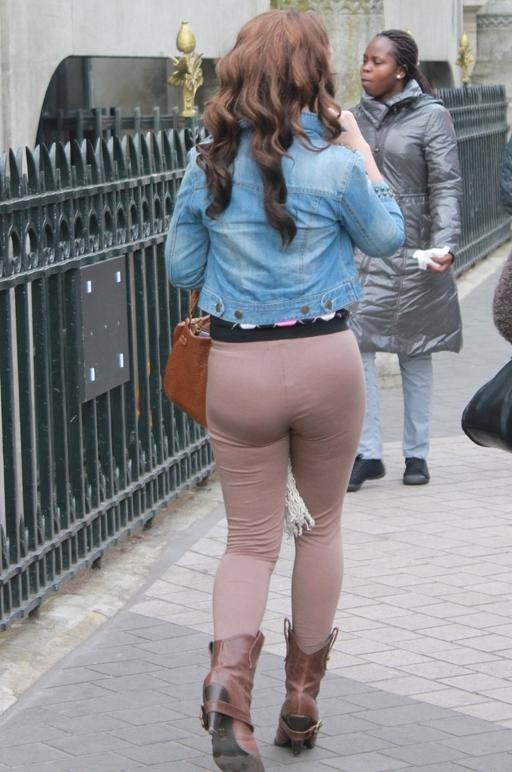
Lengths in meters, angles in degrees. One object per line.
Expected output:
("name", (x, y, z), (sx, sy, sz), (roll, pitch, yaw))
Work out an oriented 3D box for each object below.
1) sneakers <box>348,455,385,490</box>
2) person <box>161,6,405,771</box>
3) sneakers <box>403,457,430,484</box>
("sneakers", (0.534, 0.406, 5.254), (0.131, 0.153, 0.359), (-4, 1, 34))
("person", (0.072, 0.075, 2.358), (0.509, 1.700, 0.454), (-1, 10, -4))
("sneakers", (0.791, 0.408, 5.337), (0.121, 0.133, 0.320), (0, -4, 6))
